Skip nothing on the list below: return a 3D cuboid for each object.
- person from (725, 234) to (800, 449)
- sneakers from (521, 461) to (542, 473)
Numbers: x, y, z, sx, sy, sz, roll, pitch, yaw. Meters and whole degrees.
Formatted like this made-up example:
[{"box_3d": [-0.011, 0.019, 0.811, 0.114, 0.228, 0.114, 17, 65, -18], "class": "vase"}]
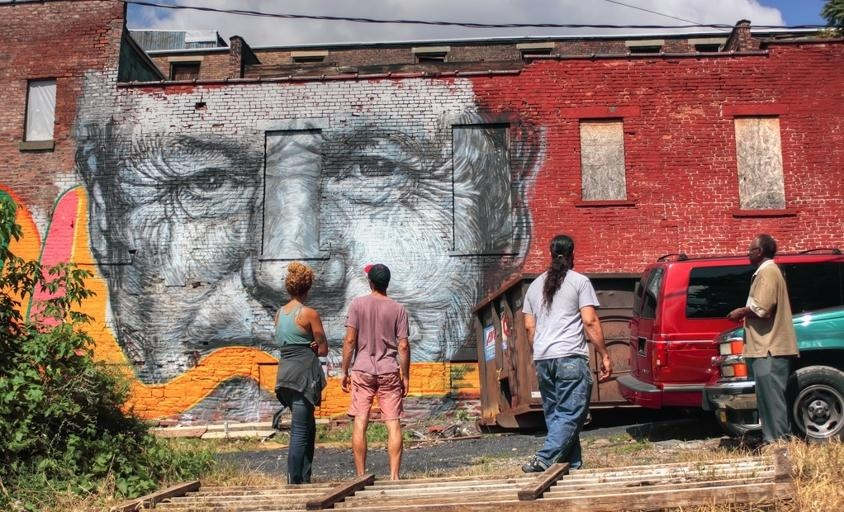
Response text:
[{"box_3d": [6.981, 1.644, 22.569, 1.049, 4.162, 0.467, -4, -4, 15], "class": "person"}, {"box_3d": [2.178, 4.073, 21.779, 0.465, 0.247, 0.251, -4, -4, 16], "class": "sneakers"}]
